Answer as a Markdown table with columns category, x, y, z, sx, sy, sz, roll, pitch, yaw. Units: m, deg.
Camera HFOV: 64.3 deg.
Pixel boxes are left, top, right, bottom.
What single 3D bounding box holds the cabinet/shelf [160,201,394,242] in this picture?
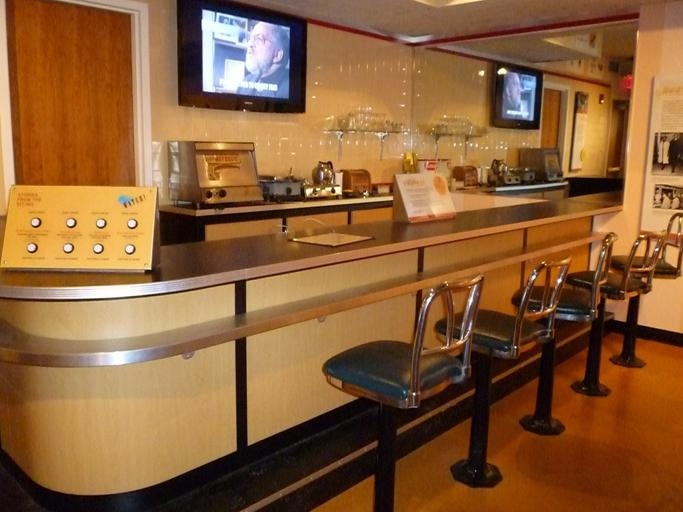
| category | x | y | z | sx | sy | sz | roll | pitch | yaw |
| --- | --- | --- | --- | --- | --- | --- | --- | --- | --- |
| cabinet/shelf | -0.554 | -0.386 | 5.278 | 2.273 | 0.357 | 0.451 | -9 | 18 | -32 |

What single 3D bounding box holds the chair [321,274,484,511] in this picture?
| category | x | y | z | sx | sy | sz | roll | pitch | yaw |
| --- | --- | --- | --- | --- | --- | --- | --- | --- | --- |
| chair | 0.332 | 0.606 | 2.562 | 0.749 | 1.121 | 0.468 | -12 | 18 | -39 |

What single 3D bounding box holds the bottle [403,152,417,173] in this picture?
| category | x | y | z | sx | sy | sz | roll | pitch | yaw |
| --- | --- | --- | --- | --- | --- | --- | --- | --- | --- |
| bottle | 0.869 | -1.189 | 6.893 | 0.183 | 0.237 | 0.301 | 2 | 15 | 6 |

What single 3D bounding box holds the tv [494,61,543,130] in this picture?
| category | x | y | z | sx | sy | sz | roll | pitch | yaw |
| --- | --- | --- | --- | --- | --- | --- | --- | --- | --- |
| tv | 1.869 | -1.670 | 5.661 | 0.096 | 0.689 | 0.692 | -14 | 16 | -31 |

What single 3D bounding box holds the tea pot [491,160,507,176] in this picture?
| category | x | y | z | sx | sy | sz | roll | pitch | yaw |
| --- | --- | --- | --- | --- | --- | --- | --- | --- | --- |
| tea pot | 1.693 | -0.949 | 5.882 | 0.147 | 0.171 | 0.120 | 3 | -1 | -20 |

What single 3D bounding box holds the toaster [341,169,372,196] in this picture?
| category | x | y | z | sx | sy | sz | roll | pitch | yaw |
| --- | --- | --- | --- | --- | --- | --- | --- | --- | --- |
| toaster | 0.179 | -0.832 | 6.148 | 0.316 | 0.269 | 0.457 | 6 | 16 | 18 |

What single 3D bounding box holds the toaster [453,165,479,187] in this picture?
| category | x | y | z | sx | sy | sz | roll | pitch | yaw |
| --- | --- | --- | --- | --- | --- | --- | --- | --- | --- |
| toaster | 1.436 | -0.933 | 6.287 | 0.214 | 0.324 | 0.335 | -2 | 10 | -2 |

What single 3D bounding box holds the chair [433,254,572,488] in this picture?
| category | x | y | z | sx | sy | sz | roll | pitch | yaw |
| --- | --- | --- | --- | --- | --- | --- | --- | --- | --- |
| chair | 0.926 | 0.551 | 3.408 | 1.027 | 1.276 | 0.854 | -10 | 17 | -44 |

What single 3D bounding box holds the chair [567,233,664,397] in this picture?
| category | x | y | z | sx | sy | sz | roll | pitch | yaw |
| --- | --- | --- | --- | --- | --- | --- | --- | --- | --- |
| chair | 2.002 | 0.377 | 4.102 | 0.548 | 1.255 | 0.566 | 10 | 12 | 28 |

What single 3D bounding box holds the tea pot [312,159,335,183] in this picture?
| category | x | y | z | sx | sy | sz | roll | pitch | yaw |
| --- | --- | --- | --- | --- | --- | --- | --- | --- | --- |
| tea pot | -0.191 | -0.910 | 5.894 | 0.196 | 0.272 | 0.270 | 3 | 4 | 38 |
